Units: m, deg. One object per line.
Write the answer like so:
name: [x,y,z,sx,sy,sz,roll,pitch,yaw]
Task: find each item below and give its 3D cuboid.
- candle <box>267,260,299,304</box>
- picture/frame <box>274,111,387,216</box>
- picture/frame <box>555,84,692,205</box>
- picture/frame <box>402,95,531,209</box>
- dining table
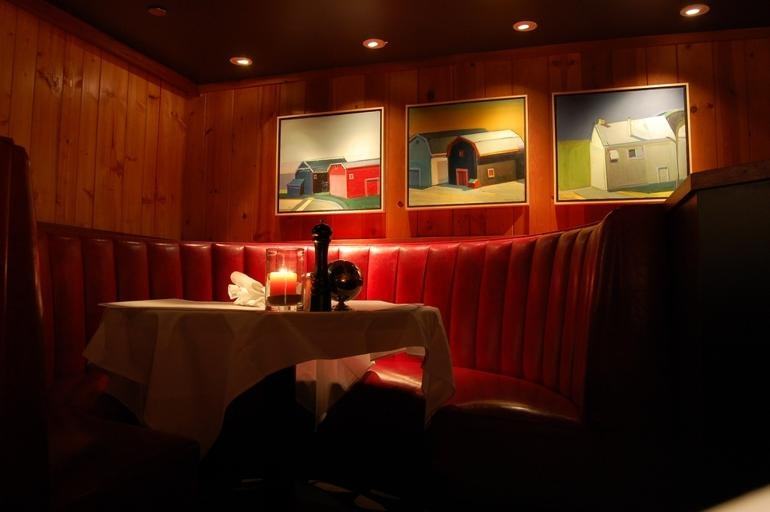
candle: [-0.483,0.141,2.795,0.120,0.148,0.126,-2,-5,25]
picture/frame: [-0.409,-0.734,4.805,0.762,0.737,0.060,-1,-7,13]
picture/frame: [1.759,-0.789,4.309,0.894,0.836,0.090,0,-7,7]
picture/frame: [0.663,-0.783,4.582,0.796,0.744,0.031,-1,-8,14]
dining table: [-0.571,0.501,2.948,1.172,0.854,1.262,1,-3,-1]
